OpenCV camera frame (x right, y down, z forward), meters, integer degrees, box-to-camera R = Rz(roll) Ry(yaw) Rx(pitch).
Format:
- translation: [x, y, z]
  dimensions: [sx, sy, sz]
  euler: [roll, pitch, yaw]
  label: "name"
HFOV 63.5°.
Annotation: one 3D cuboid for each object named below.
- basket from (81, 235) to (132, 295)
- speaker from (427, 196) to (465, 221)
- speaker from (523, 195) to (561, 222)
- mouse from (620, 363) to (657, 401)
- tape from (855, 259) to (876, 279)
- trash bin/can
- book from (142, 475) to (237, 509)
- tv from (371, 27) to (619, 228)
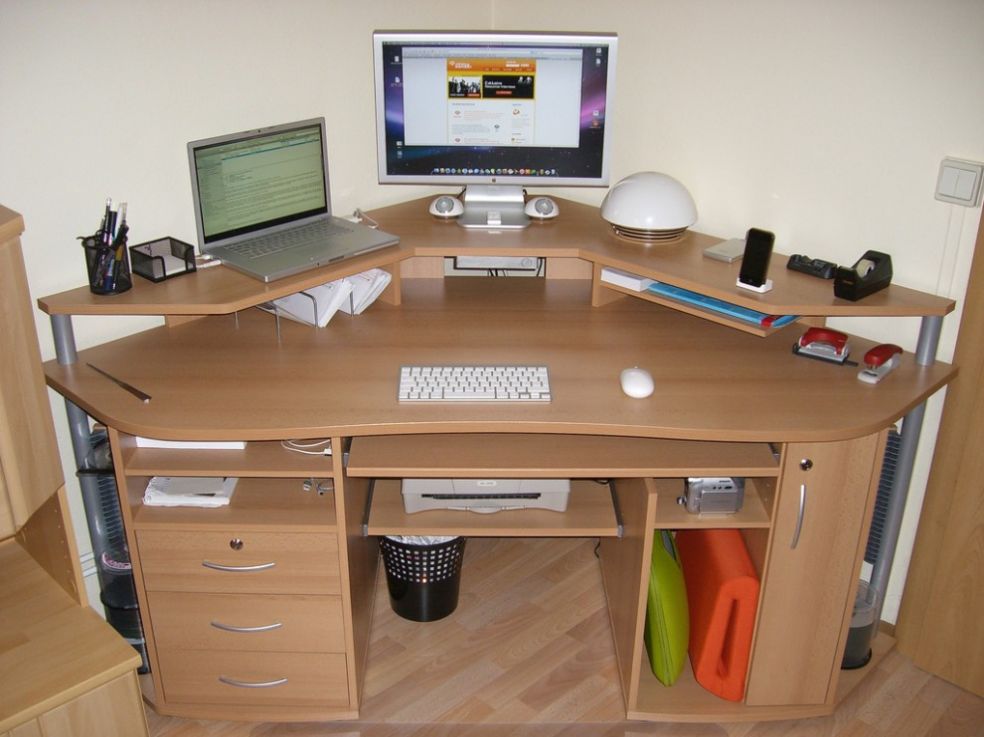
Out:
- translation: [-1.134, -0.304, 2.338]
  dimensions: [0.129, 0.132, 0.133]
  euler: [19, 33, 16]
  label: "basket"
- translation: [-0.170, -0.580, 2.943]
  dimensions: [0.105, 0.031, 0.094]
  euler: [0, 40, -3]
  label: "speaker"
- translation: [0.184, -0.585, 2.890]
  dimensions: [0.106, 0.056, 0.107]
  euler: [36, 53, 28]
  label: "speaker"
- translation: [0.423, 0.041, 2.304]
  dimensions: [0.103, 0.070, 0.109]
  euler: [4, 22, 7]
  label: "mouse"
- translation: [1.121, -0.297, 2.392]
  dimensions: [0.053, 0.020, 0.084]
  euler: [0, 36, 8]
  label: "tape"
- translation: [-0.231, 0.707, 2.881]
  dimensions: [0.369, 0.269, 0.305]
  euler: [-2, 20, -8]
  label: "trash bin/can"
- translation: [-0.901, 0.363, 2.375]
  dimensions: [0.248, 0.059, 0.123]
  euler: [0, 22, -2]
  label: "book"
- translation: [0.008, -0.849, 2.753]
  dimensions: [0.954, 0.625, 0.249]
  euler: [1, 42, 1]
  label: "tv"
